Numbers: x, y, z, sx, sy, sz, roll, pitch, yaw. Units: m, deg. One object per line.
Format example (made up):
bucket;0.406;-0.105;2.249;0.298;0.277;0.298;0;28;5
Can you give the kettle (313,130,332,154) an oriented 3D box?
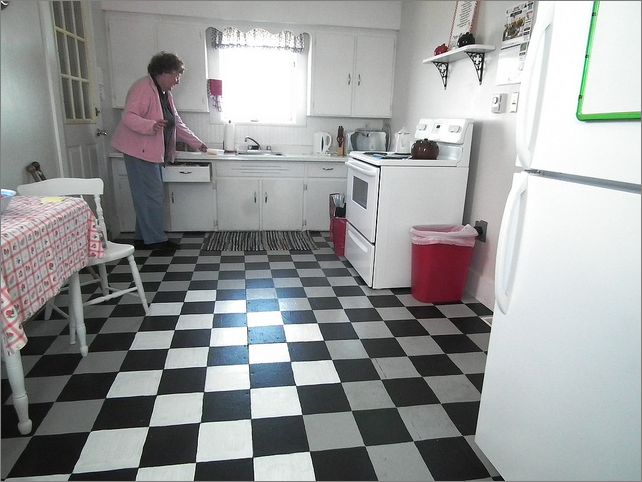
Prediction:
kettle;0.011;-1.133;4.909;0.251;0.284;0.170;-1;9;-9

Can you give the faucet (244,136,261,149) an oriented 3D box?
faucet;-0.801;-1.144;4.970;0.187;0.146;0.150;-2;19;-9

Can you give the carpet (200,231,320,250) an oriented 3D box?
carpet;-0.631;-0.001;4.400;1.125;0.033;0.560;0;19;-6

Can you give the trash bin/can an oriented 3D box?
trash bin/can;0.846;0.127;3.393;0.527;0.657;0.560;-3;10;-8

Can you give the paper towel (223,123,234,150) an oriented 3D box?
paper towel;-1.046;-1.189;4.866;0.139;0.303;0.218;-3;19;-13

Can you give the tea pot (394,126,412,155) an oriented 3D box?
tea pot;0.664;-0.861;3.702;0.149;0.253;0.220;-2;5;-13

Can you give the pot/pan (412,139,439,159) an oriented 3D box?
pot/pan;0.787;-0.696;3.266;0.158;0.130;0.163;2;12;17

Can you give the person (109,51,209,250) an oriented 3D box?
person;-1.548;-0.875;4.132;0.486;1.759;0.713;10;20;24

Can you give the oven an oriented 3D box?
oven;0.656;-0.250;3.750;0.913;1.016;1.132;-5;15;-24

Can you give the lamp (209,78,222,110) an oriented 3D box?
lamp;-1.174;-1.624;4.737;0.151;0.327;0.090;1;18;0

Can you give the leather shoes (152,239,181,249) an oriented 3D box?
leather shoes;-1.495;0.039;4.167;0.251;0.113;0.098;-3;9;-12

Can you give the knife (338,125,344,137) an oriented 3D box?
knife;0.228;-1.293;5.045;0.074;0.133;0.177;2;19;3

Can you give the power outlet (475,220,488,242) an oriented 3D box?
power outlet;1.231;-0.084;3.277;0.044;0.160;0.112;6;0;-42

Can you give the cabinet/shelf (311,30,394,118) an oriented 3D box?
cabinet/shelf;0.315;-1.877;4.712;0.774;0.724;0.306;-1;14;-7

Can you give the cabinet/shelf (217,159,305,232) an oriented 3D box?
cabinet/shelf;-0.633;-0.467;4.930;1.212;1.081;0.633;-1;9;-8
